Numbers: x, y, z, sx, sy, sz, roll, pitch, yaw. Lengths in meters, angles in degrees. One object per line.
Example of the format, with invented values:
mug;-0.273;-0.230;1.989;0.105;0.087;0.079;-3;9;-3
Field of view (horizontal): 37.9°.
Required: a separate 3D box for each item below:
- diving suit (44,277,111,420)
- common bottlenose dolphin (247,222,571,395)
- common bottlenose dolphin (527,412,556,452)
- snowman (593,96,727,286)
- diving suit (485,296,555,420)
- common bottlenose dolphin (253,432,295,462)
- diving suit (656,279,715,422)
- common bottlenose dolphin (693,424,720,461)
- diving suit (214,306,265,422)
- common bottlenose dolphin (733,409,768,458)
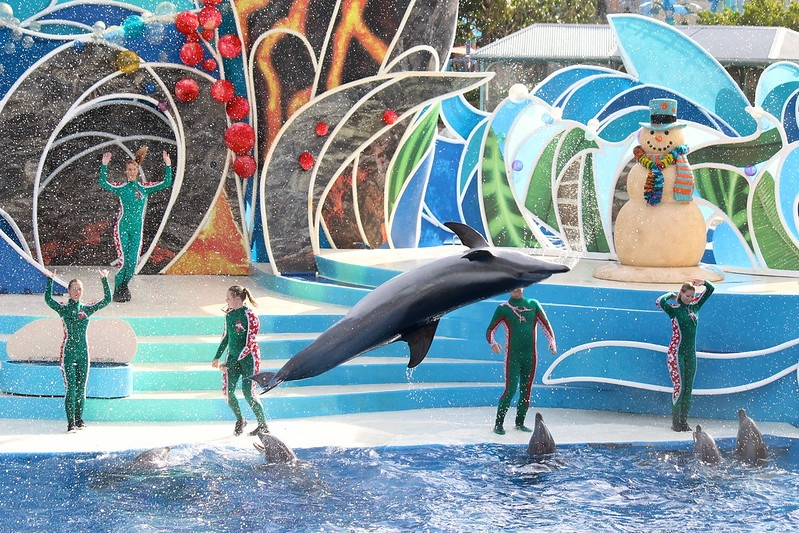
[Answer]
diving suit;-4.205;1.028;15.017;0.855;2.065;0.554;1;1;-3
common bottlenose dolphin;0.289;0.521;13.383;3.817;1.526;1.623;-24;39;7
common bottlenose dolphin;1.782;2.082;14.579;0.299;0.501;0.174;-2;5;1
snowman;3.734;-0.815;17.177;1.395;3.107;1.833;3;-5;-28
diving suit;1.558;1.081;15.438;0.750;1.769;0.770;-4;-8;-6
common bottlenose dolphin;-1.514;2.243;14.210;0.606;0.245;0.206;38;37;26
diving suit;3.711;1.121;15.187;0.724;1.961;0.461;1;0;7
common bottlenose dolphin;3.839;2.166;14.397;0.331;0.453;0.274;-2;1;16
diving suit;-2.057;1.202;14.876;0.671;1.959;0.593;-1;9;2
common bottlenose dolphin;4.316;2.146;14.427;0.254;0.749;0.246;-13;-10;-34
